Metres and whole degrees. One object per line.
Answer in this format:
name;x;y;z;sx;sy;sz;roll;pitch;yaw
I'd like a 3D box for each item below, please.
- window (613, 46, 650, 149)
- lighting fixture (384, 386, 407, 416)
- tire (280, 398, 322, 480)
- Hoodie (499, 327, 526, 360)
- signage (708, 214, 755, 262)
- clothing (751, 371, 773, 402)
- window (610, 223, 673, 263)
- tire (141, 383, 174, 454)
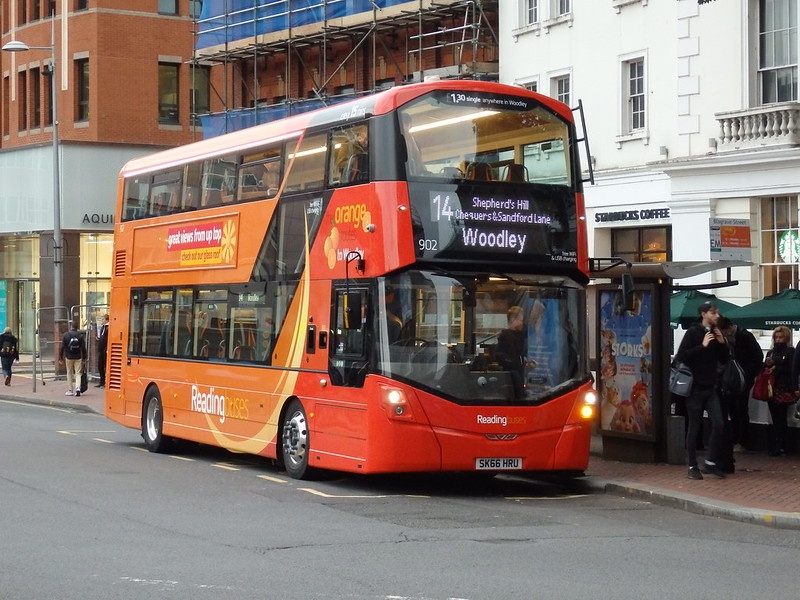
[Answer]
window;6.084;-5.162;27.304;0.693;2.270;1.026;-9;9;-17
lighting fixture;-0.043;1.355;14.226;0.237;0.370;0.210;-21;-1;-10
tire;-1.454;2.060;15.784;0.373;1.055;0.869;5;-25;-21
Hoodie;1.591;0.600;14.697;0.304;0.428;0.413;0;-7;8
signage;6.339;-1.166;19.964;1.124;1.002;0.056;6;-14;-36
clothing;6.406;1.483;18.445;0.363;0.600;0.260;10;-11;-2
window;6.339;-1.490;27.803;0.351;0.870;1.880;-13;9;-35
tire;-4.555;2.201;19.793;0.324;1.151;0.950;2;-20;-22
